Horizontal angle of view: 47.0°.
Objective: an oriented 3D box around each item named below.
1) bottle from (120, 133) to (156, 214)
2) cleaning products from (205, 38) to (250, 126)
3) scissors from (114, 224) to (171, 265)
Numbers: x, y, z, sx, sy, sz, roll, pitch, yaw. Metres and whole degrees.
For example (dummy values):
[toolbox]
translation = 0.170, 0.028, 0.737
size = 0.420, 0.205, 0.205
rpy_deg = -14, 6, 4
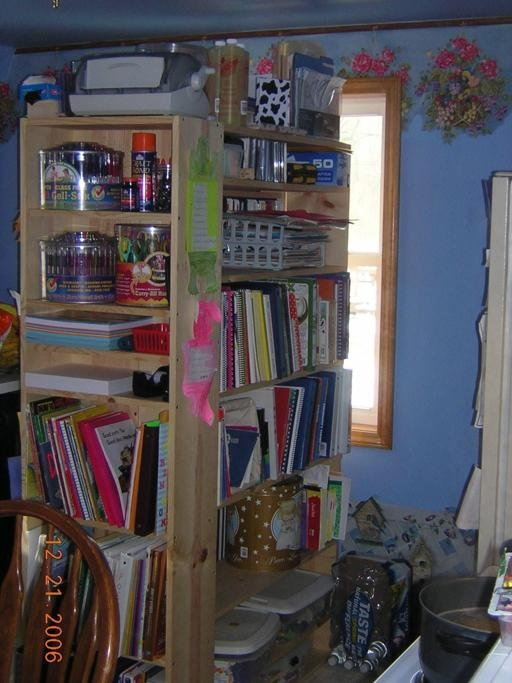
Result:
[bottle]
translation = -0.332, -0.477, 1.646
size = 0.099, 0.239, 0.174
rpy_deg = -2, 7, -12
[cleaning products]
translation = -0.093, -0.776, 1.796
size = 0.124, 0.283, 0.251
rpy_deg = 0, 6, 4
[scissors]
translation = -0.303, -0.263, 1.643
size = 0.133, 0.125, 0.117
rpy_deg = 4, 5, 27
